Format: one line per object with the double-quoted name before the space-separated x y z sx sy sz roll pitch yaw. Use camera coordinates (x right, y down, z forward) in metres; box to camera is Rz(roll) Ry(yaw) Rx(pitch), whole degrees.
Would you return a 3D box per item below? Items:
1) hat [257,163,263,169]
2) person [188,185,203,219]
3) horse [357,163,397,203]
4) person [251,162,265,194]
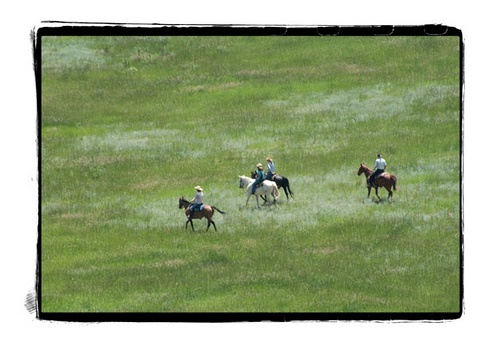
"hat" 0.542 -0.302 71.615 0.247 0.092 0.253 24 23 18
"person" -2.706 1.584 70.654 0.725 1.557 0.414 -3 -1 -5
"horse" 6.533 0.534 71.808 2.320 1.823 0.688 8 18 31
"person" 0.471 0.343 71.458 0.768 1.448 0.467 -3 -1 -16
